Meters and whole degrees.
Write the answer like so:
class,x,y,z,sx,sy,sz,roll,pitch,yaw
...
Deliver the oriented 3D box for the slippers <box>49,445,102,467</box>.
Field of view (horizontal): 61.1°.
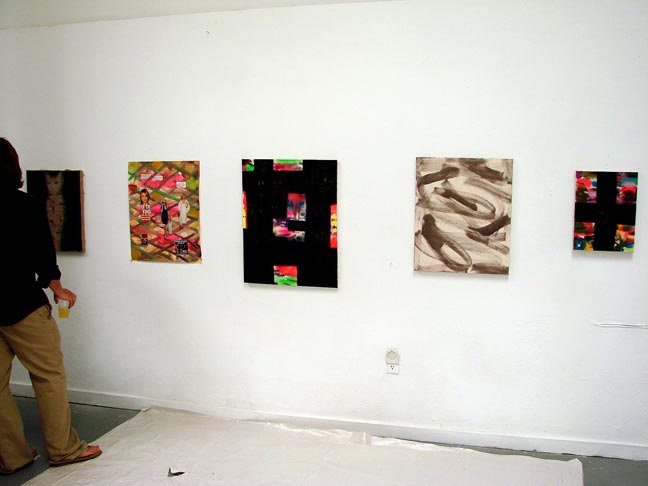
class,x,y,z,sx,sy,sz,roll,pitch,yaw
slippers,-1.703,1.455,3.797,0.235,0.084,0.134,-3,2,-21
